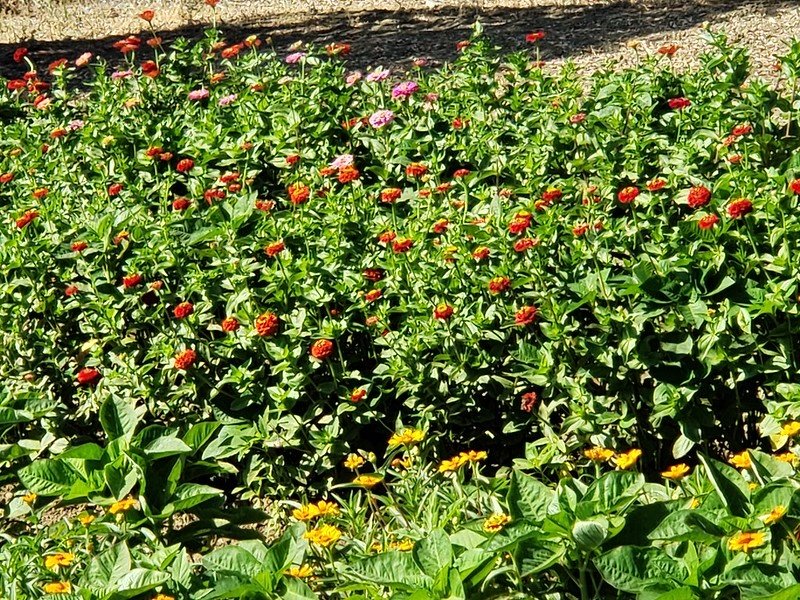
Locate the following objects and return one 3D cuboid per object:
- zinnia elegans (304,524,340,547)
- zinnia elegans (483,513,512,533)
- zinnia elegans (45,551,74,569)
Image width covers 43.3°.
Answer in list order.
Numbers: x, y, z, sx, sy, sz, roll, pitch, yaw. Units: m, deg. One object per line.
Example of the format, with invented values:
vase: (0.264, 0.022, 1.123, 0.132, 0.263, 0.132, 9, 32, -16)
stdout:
zinnia elegans: (-0.294, 0.865, 3.758, 0.098, 0.050, 0.101, -5, 24, -1)
zinnia elegans: (0.356, 0.818, 3.706, 0.106, 0.038, 0.073, -20, 24, -4)
zinnia elegans: (-1.233, 0.942, 3.693, 0.078, 0.038, 0.080, 1, 4, 9)
